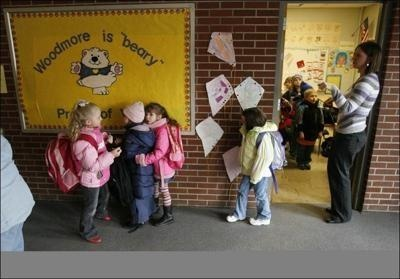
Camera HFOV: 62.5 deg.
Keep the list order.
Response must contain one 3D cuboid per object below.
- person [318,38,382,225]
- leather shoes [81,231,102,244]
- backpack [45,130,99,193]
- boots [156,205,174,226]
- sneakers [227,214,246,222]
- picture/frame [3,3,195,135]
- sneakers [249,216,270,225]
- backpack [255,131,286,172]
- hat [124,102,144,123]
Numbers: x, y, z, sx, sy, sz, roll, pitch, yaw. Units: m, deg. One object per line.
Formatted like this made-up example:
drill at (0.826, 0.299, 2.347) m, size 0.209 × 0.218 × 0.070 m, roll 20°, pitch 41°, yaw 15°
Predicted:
person at (1.885, -0.070, 4.218) m, size 0.479 × 2.272 × 0.654 m, roll 12°, pitch 20°, yaw 38°
leather shoes at (-1.339, 1.192, 4.043) m, size 0.257 × 0.099 × 0.112 m, roll 6°, pitch 28°, yaw 17°
backpack at (-1.602, 0.302, 3.883) m, size 0.300 × 0.652 × 0.387 m, roll -12°, pitch 20°, yaw -35°
boots at (-0.438, 0.980, 4.259) m, size 0.287 × 0.276 × 0.147 m, roll -1°, pitch 11°, yaw -8°
sneakers at (0.482, 1.041, 4.384) m, size 0.250 × 0.114 × 0.093 m, roll 4°, pitch 12°, yaw -8°
picture/frame at (-1.214, -0.987, 4.283) m, size 1.715 × 1.184 × 0.039 m, roll 1°, pitch 15°, yaw 5°
sneakers at (0.768, 1.066, 4.271) m, size 0.231 × 0.103 × 0.110 m, roll 4°, pitch 12°, yaw 0°
backpack at (0.926, 0.163, 4.166) m, size 0.211 × 0.596 × 0.519 m, roll 15°, pitch 22°, yaw 43°
hat at (-0.792, -0.352, 4.105) m, size 0.190 × 0.200 × 0.268 m, roll 12°, pitch 16°, yaw -42°
